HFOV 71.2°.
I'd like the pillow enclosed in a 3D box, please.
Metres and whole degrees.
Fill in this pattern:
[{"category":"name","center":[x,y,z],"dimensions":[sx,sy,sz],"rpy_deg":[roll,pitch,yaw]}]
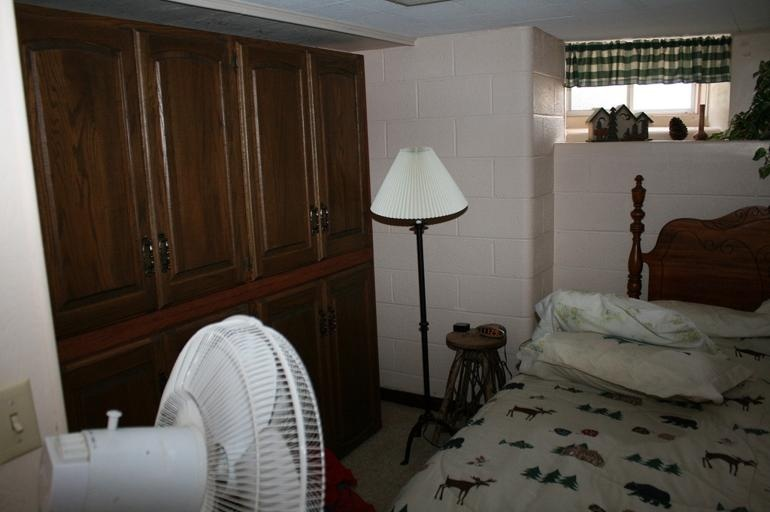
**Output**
[{"category":"pillow","center":[1.222,0.457,2.694],"dimensions":[0.706,0.209,0.567],"rpy_deg":[3,23,30]}]

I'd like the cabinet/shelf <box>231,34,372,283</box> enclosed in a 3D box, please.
[{"category":"cabinet/shelf","center":[-0.556,-0.502,3.042],"dimensions":[0.402,1.230,1.241],"rpy_deg":[5,15,26]}]
